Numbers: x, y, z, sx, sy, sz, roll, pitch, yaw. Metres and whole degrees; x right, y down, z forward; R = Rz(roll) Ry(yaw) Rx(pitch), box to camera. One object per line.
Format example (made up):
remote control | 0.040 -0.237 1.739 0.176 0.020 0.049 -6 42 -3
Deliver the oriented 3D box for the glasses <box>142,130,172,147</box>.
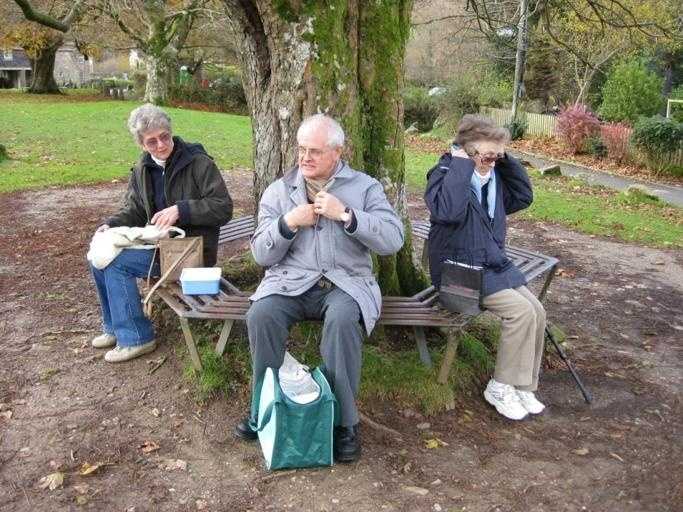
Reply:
glasses | -1.549 -0.980 4.378 0.131 0.079 0.180 -20 4 -15

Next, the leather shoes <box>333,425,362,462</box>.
leather shoes | 0.035 1.266 3.510 0.118 0.124 0.279 0 -3 2

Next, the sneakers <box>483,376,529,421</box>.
sneakers | 1.280 1.116 4.185 0.400 0.202 0.170 31 46 32

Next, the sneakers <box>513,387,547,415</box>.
sneakers | 1.507 1.159 4.212 0.120 0.146 0.298 -16 31 -42

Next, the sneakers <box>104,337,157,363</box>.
sneakers | -1.842 0.820 4.586 0.435 0.228 0.161 -6 16 -24

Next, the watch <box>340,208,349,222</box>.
watch | 0.025 -0.294 3.724 0.072 0.106 0.071 2 16 1

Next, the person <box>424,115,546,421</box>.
person | 1.260 0.020 4.304 0.958 2.264 1.112 -9 19 -32

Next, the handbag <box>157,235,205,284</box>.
handbag | -1.334 0.025 4.337 0.361 0.378 0.167 -1 5 -15

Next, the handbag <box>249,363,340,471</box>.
handbag | -0.353 0.987 3.608 0.527 0.627 0.620 -2 25 -11

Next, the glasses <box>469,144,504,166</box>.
glasses | 1.166 -0.836 4.242 0.178 0.059 0.187 -6 28 -30

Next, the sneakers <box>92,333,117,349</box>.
sneakers | -2.104 0.754 4.674 0.225 0.114 0.093 -3 -12 -19
